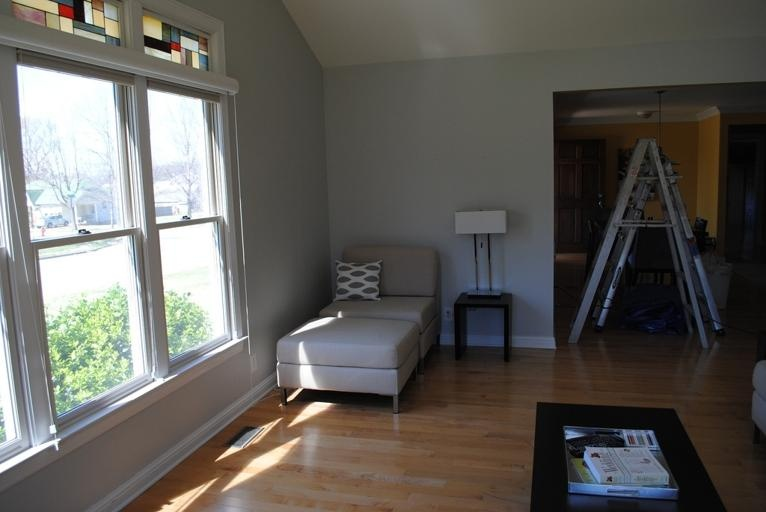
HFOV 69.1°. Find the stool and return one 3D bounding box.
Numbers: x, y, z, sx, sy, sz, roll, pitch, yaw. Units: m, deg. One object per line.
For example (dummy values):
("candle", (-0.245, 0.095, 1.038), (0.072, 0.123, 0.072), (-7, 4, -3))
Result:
("stool", (-0.264, 0.853, 4.953), (0.756, 0.537, 1.072), (1, 2, 12))

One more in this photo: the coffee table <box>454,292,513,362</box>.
("coffee table", (1.071, 0.750, 5.905), (0.569, 0.576, 0.594), (0, 4, 17))

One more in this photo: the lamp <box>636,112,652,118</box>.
("lamp", (4.617, -2.503, 9.831), (0.166, 0.069, 0.166), (0, 7, 20))

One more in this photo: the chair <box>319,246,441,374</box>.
("chair", (0.038, 0.512, 5.927), (1.223, 1.269, 1.152), (1, 2, 12))

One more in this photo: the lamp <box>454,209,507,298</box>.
("lamp", (1.036, -0.037, 5.868), (0.508, 0.890, 0.309), (1, 11, 15))

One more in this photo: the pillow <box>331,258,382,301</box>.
("pillow", (-0.251, 0.252, 5.865), (0.452, 0.399, 0.170), (1, -24, 3))

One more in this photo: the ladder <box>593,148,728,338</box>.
("ladder", (2.888, -0.157, 5.946), (1.353, 2.143, 0.783), (3, 12, 24))
